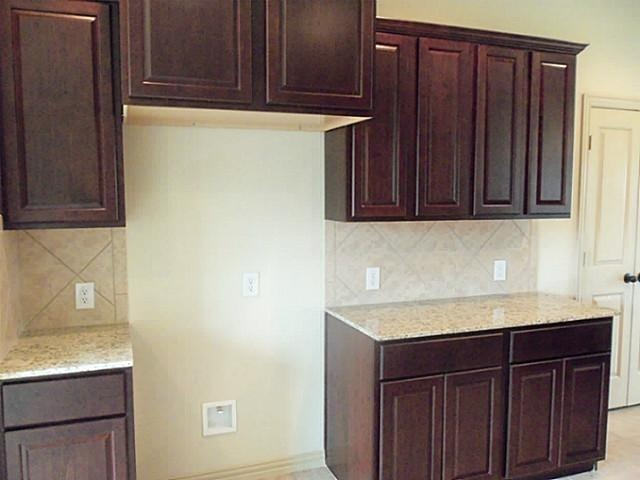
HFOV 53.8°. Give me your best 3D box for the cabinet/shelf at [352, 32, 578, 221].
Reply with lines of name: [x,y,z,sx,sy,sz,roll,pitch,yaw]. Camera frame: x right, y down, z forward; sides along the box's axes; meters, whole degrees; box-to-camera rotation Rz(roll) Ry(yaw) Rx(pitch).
cabinet/shelf: [0.895,-0.661,3.851,1.543,1.029,0.355,-3,-13,-19]
